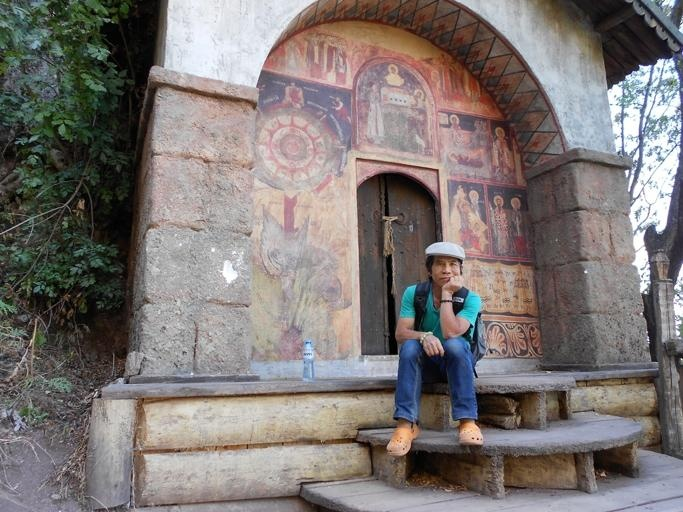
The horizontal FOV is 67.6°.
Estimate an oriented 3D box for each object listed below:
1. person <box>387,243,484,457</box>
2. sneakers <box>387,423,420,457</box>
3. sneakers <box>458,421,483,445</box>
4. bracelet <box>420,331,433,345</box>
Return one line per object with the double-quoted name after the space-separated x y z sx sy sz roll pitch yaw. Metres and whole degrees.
0.809 0.737 4.395 0.795 1.740 0.587 -6 -11 15 "person"
0.513 1.491 4.194 0.173 0.261 0.310 -8 -12 26 "sneakers"
1.015 1.390 4.014 0.176 0.189 0.120 -6 -11 14 "sneakers"
0.724 0.694 4.339 0.025 0.090 0.085 40 -24 -2 "bracelet"
